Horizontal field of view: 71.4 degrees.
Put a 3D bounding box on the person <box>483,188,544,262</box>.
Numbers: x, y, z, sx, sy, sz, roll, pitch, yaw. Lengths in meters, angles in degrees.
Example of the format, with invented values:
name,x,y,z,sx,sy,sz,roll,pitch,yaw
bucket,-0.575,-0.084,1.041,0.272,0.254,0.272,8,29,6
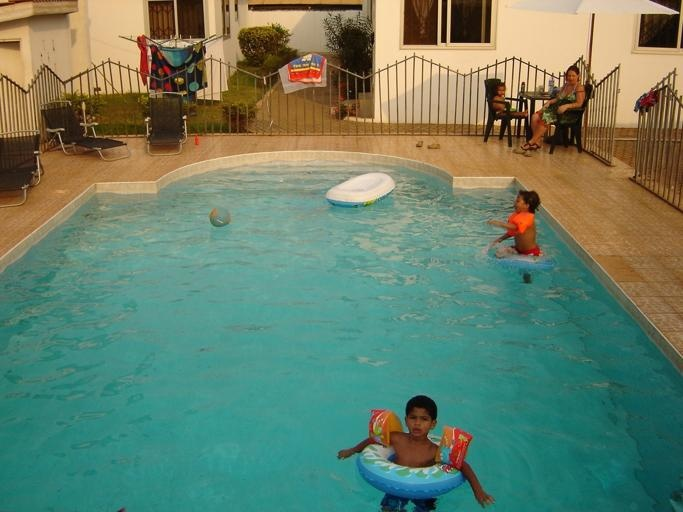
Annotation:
name,x,y,z,sx,sy,sz,roll,pitch,yaw
person,2.823,-0.461,7.534,0.729,1.114,0.542,6,23,21

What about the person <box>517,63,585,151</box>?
name,x,y,z,sx,sy,sz,roll,pitch,yaw
person,5.714,-3.918,12.877,1.502,2.273,1.054,11,25,30

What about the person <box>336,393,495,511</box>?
name,x,y,z,sx,sy,sz,roll,pitch,yaw
person,0.588,1.595,3.772,1.055,0.787,0.265,2,19,10

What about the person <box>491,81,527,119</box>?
name,x,y,z,sx,sy,sz,roll,pitch,yaw
person,4.775,-4.536,13.727,0.992,1.098,1.112,-14,19,-40

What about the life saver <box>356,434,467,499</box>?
name,x,y,z,sx,sy,sz,roll,pitch,yaw
life saver,0.445,1.484,3.317,0.498,0.115,0.464,1,14,7

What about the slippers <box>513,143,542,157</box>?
name,x,y,z,sx,sy,sz,roll,pitch,yaw
slippers,5.147,-2.950,13.294,0.832,0.274,0.433,6,33,11

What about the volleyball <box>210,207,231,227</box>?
name,x,y,z,sx,sy,sz,roll,pitch,yaw
volleyball,-2.392,-0.755,9.330,0.356,0.236,0.375,-6,15,-11
